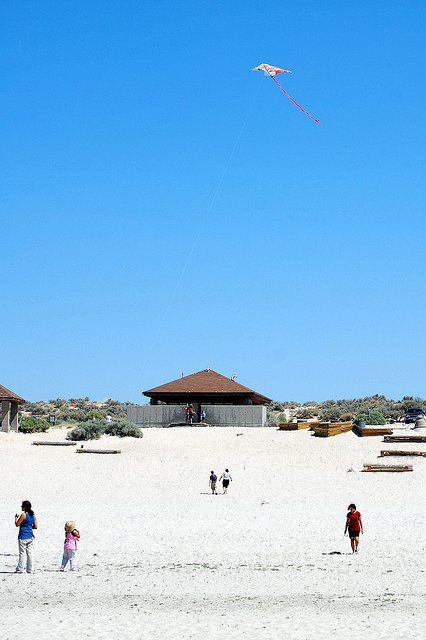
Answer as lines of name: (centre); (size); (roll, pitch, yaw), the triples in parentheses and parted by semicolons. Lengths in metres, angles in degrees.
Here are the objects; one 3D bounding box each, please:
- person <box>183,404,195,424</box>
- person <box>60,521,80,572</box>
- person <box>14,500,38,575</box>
person: (-1.368, 5.226, 53.924); (0.844, 0.914, 0.278); (6, -6, -41)
person: (-2.903, 4.559, 19.807); (0.327, 0.932, 1.414); (2, -10, -8)
person: (-3.725, 4.316, 19.438); (0.388, 1.349, 1.156); (3, -10, -10)
